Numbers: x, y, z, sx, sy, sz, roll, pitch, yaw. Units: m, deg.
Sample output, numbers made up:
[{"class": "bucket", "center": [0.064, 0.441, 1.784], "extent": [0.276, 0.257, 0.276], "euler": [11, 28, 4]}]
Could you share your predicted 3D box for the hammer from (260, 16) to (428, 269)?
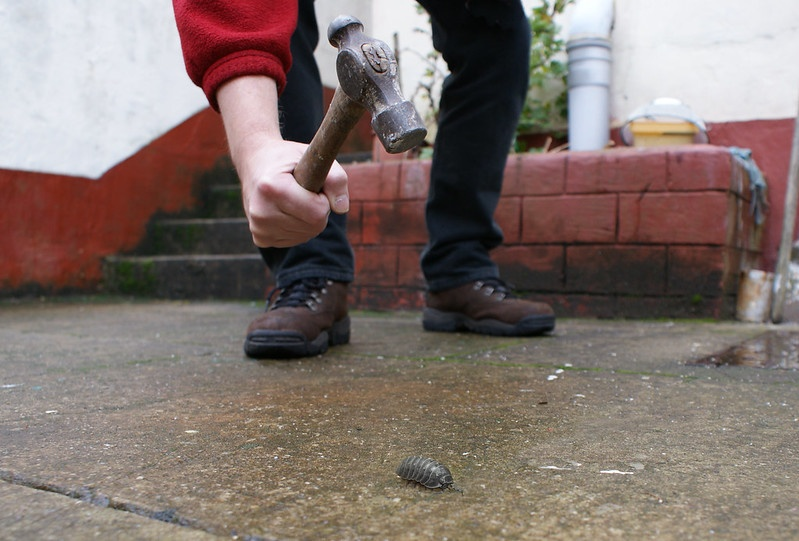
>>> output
[{"class": "hammer", "center": [-0.088, -0.387, 1.792], "extent": [0.337, 0.416, 0.113], "euler": [4, 11, 19]}]

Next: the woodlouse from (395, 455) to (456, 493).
[{"class": "woodlouse", "center": [0.051, 0.411, 1.542], "extent": [0.088, 0.031, 0.061], "euler": [10, 3, 27]}]

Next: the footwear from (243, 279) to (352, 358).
[{"class": "footwear", "center": [-0.335, 0.170, 2.601], "extent": [0.170, 0.212, 0.434], "euler": [-1, -4, 15]}]

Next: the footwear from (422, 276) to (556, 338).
[{"class": "footwear", "center": [0.346, 0.144, 3.038], "extent": [0.548, 0.260, 0.200], "euler": [1, 2, 22]}]
